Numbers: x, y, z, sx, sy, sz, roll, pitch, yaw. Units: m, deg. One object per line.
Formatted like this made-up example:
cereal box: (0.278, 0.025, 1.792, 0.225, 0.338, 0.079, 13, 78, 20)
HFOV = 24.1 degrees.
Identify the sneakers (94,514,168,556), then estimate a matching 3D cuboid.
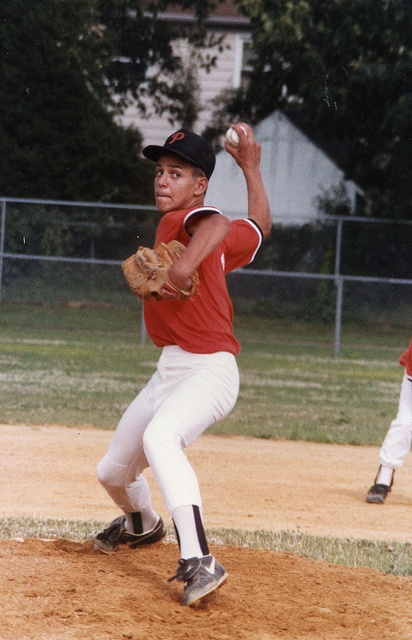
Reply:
sneakers: (-0.394, 1.036, 4.778, 0.386, 0.186, 0.157, -9, 0, -17)

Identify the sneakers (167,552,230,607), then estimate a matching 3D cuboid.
sneakers: (-0.024, 1.077, 3.934, 0.222, 0.222, 0.112, 5, 4, 1)

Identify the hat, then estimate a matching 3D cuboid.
hat: (-0.092, -0.744, 4.195, 0.285, 0.170, 0.194, 33, -4, -30)

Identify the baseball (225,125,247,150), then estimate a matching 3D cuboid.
baseball: (0.133, -0.843, 4.457, 0.092, 0.094, 0.049, -42, 24, -26)

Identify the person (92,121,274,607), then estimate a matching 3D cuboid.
person: (-0.077, 0.116, 4.245, 0.632, 2.081, 0.889, 4, 4, -15)
